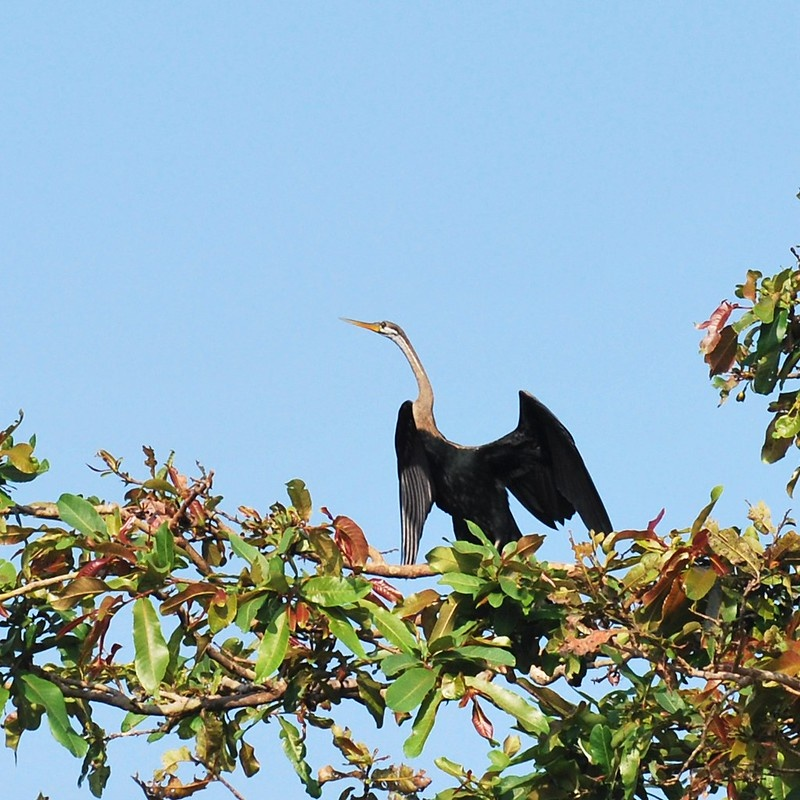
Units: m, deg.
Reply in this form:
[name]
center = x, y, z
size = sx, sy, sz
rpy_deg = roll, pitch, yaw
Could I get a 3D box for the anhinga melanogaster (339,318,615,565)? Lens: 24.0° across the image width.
[anhinga melanogaster]
center = 0.481, 0.031, 11.222
size = 1.308, 1.153, 1.387
rpy_deg = 19, -21, -37
